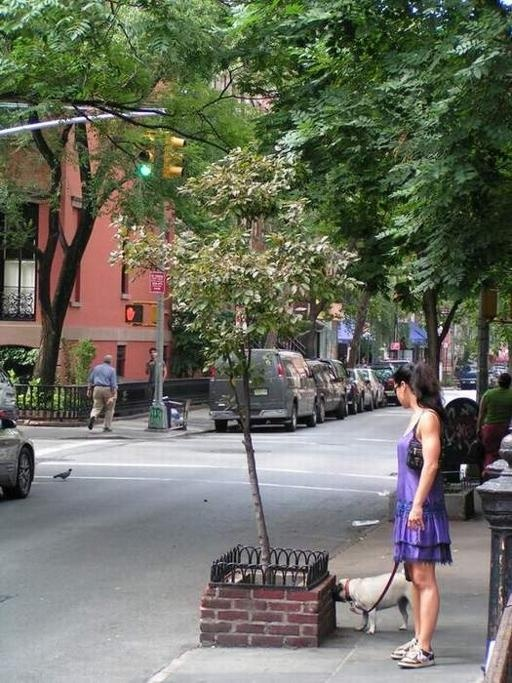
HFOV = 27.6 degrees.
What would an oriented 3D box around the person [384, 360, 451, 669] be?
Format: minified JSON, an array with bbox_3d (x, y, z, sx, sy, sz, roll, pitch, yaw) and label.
[{"bbox_3d":[0.872,0.901,5.638,0.321,1.575,0.633,-1,-1,10],"label":"person"}]

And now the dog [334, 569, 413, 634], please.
[{"bbox_3d":[0.750,1.571,6.305,0.599,0.335,0.181,-5,-15,-11],"label":"dog"}]

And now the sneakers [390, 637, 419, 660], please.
[{"bbox_3d":[0.805,1.642,5.589,0.065,0.085,0.195,-3,-10,41],"label":"sneakers"}]

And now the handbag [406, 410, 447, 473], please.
[{"bbox_3d":[0.941,0.559,5.843,0.244,0.448,0.323,1,-7,10],"label":"handbag"}]

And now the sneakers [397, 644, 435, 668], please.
[{"bbox_3d":[0.826,1.624,5.395,0.138,0.093,0.202,-2,-2,33],"label":"sneakers"}]

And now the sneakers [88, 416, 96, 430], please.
[{"bbox_3d":[-3.903,1.902,24.672,0.137,0.428,0.155,6,-20,-2],"label":"sneakers"}]

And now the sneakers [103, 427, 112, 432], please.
[{"bbox_3d":[-3.491,2.056,24.601,0.083,0.099,0.233,2,4,17],"label":"sneakers"}]
